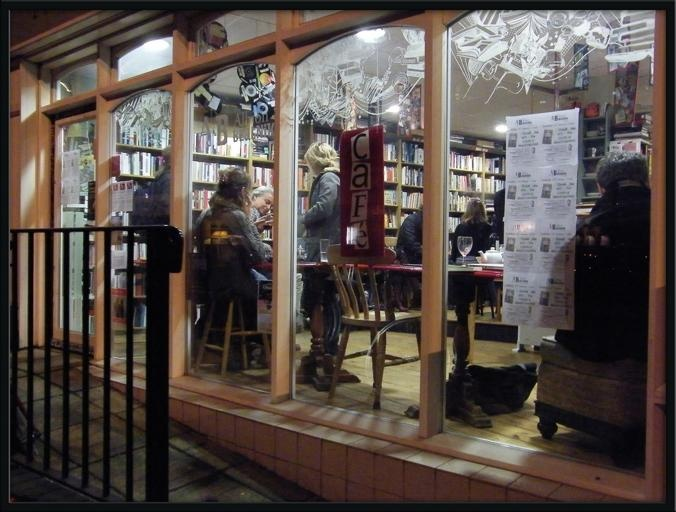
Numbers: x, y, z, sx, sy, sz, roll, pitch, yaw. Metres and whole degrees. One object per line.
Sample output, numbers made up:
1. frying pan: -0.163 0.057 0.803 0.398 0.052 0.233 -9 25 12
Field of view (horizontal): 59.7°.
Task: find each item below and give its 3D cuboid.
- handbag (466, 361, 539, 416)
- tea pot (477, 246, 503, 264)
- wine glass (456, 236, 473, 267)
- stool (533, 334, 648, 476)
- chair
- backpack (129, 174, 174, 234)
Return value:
1. handbag: 0.898 0.686 3.216 0.309 0.132 0.310 -5 -5 44
2. tea pot: 0.830 -0.001 3.177 0.101 0.058 0.069 5 4 30
3. wine glass: 0.688 -0.031 3.203 0.083 0.135 0.047 1 0 -1
4. stool: 1.267 0.704 2.963 0.548 0.553 0.529 3 -2 -36
5. chair: 0.197 0.344 3.915 0.929 1.315 0.963 0 0 -44
6. backpack: -1.319 -0.389 4.219 0.071 0.370 0.528 0 -4 -42
